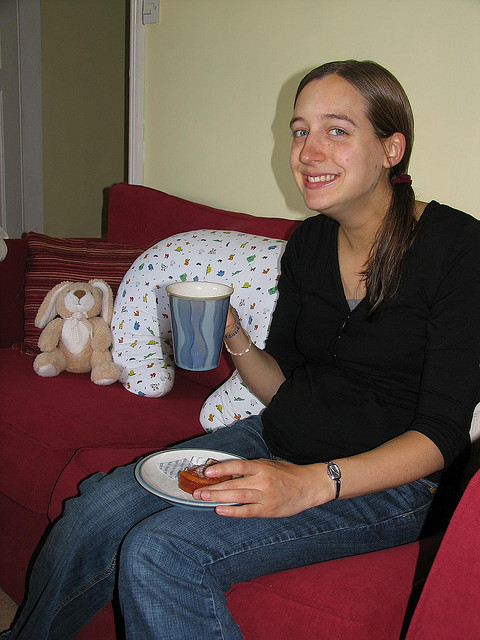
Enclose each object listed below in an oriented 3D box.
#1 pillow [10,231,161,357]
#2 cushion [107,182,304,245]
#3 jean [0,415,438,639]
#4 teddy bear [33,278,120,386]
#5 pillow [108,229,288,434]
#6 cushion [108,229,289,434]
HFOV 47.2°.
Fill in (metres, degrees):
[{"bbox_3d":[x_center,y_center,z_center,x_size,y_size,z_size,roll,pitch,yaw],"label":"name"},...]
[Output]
[{"bbox_3d":[-0.569,-0.069,1.806,0.444,0.422,0.131,8,-2,-4],"label":"pillow"},{"bbox_3d":[-0.106,-0.384,2.076,0.814,0.197,0.103,-4,29,-35],"label":"cushion"},{"bbox_3d":[-0.028,0.358,0.979,0.564,0.436,0.338,3,11,-14],"label":"jean"},{"bbox_3d":[-0.466,0.020,1.699,0.343,0.346,0.294,1,4,-1],"label":"teddy bear"},{"bbox_3d":[-0.067,0.018,1.599,0.540,0.501,0.167,19,13,33],"label":"pillow"},{"bbox_3d":[-0.073,0.016,1.620,0.538,0.499,0.167,18,13,34],"label":"cushion"}]
